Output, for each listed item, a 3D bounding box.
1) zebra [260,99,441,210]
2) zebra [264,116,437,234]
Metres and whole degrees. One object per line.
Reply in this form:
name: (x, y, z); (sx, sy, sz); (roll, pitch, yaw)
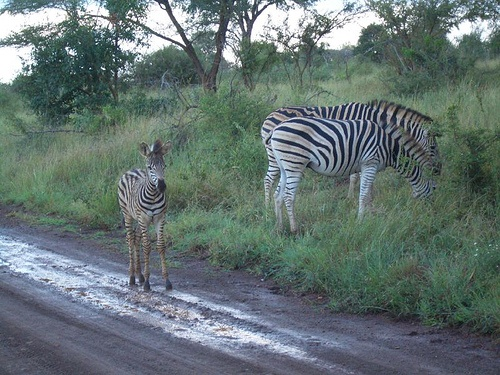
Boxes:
zebra: (2.126, -0.466, 10.300); (3.379, 2.382, 0.857); (-2, 5, -6)
zebra: (1.916, -0.193, 9.673); (2.887, 2.183, 0.797); (0, -2, 0)
